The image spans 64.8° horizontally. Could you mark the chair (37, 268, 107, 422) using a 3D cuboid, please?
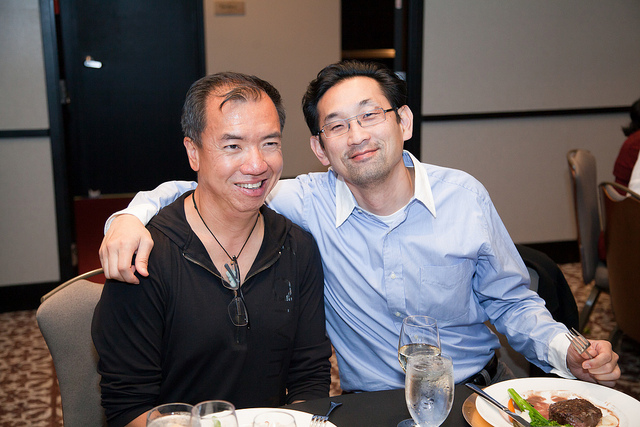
[{"bbox_3d":[-1.016,0.573,2.084,0.232,0.569,0.169,-5,8,-21],"label":"chair"}]

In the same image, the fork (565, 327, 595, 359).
[{"bbox_3d":[0.989,0.497,1.904,0.085,0.097,0.072,2,9,33],"label":"fork"}]

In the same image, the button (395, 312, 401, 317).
[{"bbox_3d":[0.347,0.456,2.258,0.017,0.022,0.010,-2,8,6],"label":"button"}]

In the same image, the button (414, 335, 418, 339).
[{"bbox_3d":[0.347,0.447,1.822,0.012,0.014,0.002,1,9,28],"label":"button"}]
